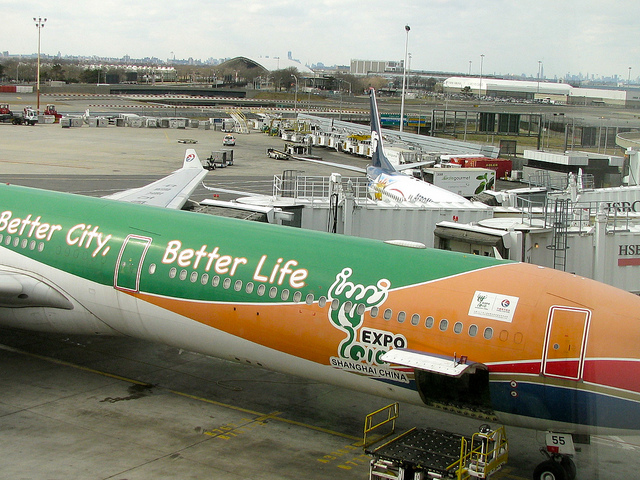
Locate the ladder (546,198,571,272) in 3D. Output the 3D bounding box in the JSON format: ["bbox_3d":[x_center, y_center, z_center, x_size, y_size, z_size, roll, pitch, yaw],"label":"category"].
[{"bbox_3d":[10.533,-0.189,32.470,1.105,3.134,1.125,-15,17,-40],"label":"ladder"}]

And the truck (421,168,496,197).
[{"bbox_3d":[12.038,-4.887,63.612,5.627,2.431,2.834,-2,15,-10],"label":"truck"}]

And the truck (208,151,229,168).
[{"bbox_3d":[-12.373,-9.586,87.661,2.837,1.517,1.392,-4,12,-18],"label":"truck"}]
